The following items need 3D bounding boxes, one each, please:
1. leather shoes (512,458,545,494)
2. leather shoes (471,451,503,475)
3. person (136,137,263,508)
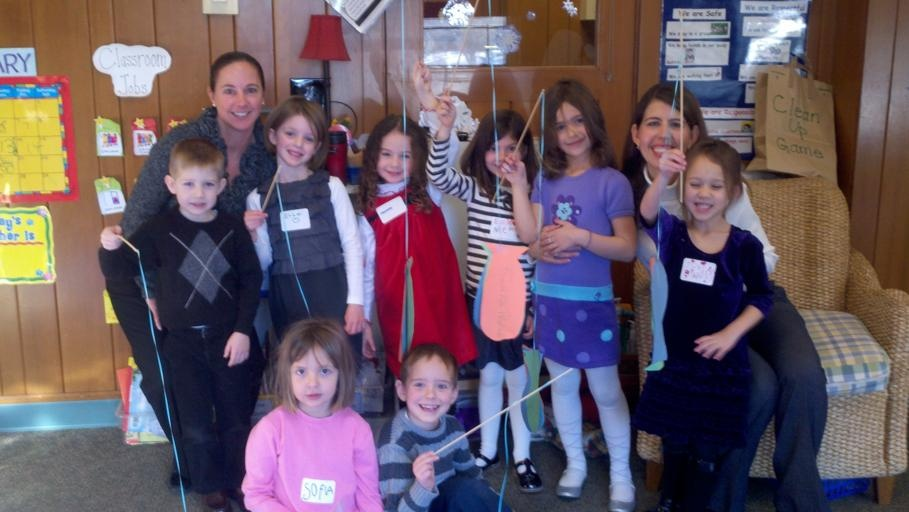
[{"bbox_3d":[0.371,1.078,3.661,0.132,0.118,0.299,-4,8,0],"label":"leather shoes"},{"bbox_3d":[0.163,1.044,3.693,0.081,0.068,0.176,-3,-7,42],"label":"leather shoes"},{"bbox_3d":[-1.178,0.325,3.454,0.444,1.715,0.507,-14,18,-41],"label":"person"}]
